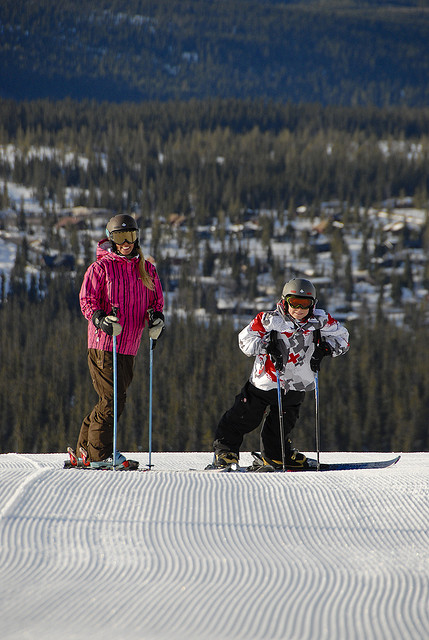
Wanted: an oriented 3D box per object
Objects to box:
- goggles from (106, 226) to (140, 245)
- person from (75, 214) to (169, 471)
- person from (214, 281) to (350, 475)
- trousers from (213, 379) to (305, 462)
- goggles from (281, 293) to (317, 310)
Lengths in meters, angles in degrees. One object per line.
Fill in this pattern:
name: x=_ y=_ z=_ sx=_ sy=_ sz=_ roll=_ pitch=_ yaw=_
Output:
goggles: x=-0.845 y=-0.780 z=14.069 sx=0.294 sy=0.148 sz=0.171 roll=0 pitch=7 yaw=-11
person: x=-0.885 y=0.210 z=14.047 sx=0.791 sy=2.347 sz=0.621 roll=0 pitch=5 yaw=-9
person: x=0.614 y=0.485 z=14.321 sx=0.876 sy=2.264 sz=0.911 roll=5 pitch=24 yaw=-1
trousers: x=0.491 y=0.984 z=14.409 sx=0.673 sy=0.476 sz=1.096 roll=19 pitch=38 yaw=20
goggles: x=0.779 y=-0.172 z=14.054 sx=0.310 sy=0.128 sz=0.134 roll=1 pitch=6 yaw=0
